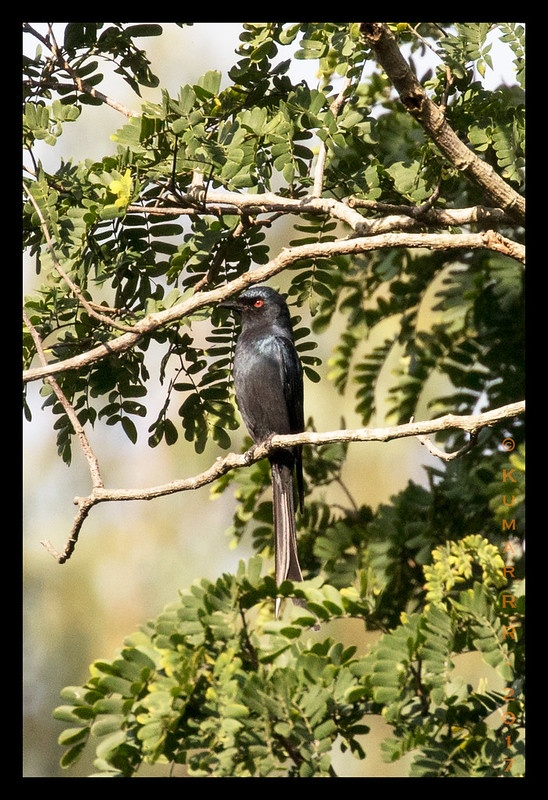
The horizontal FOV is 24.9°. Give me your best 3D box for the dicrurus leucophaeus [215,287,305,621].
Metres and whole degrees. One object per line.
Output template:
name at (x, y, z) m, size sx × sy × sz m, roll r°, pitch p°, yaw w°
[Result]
dicrurus leucophaeus at (-0.027, 0.249, 5.712) m, size 0.350 × 1.756 × 1.039 m, roll -2°, pitch -27°, yaw 1°
